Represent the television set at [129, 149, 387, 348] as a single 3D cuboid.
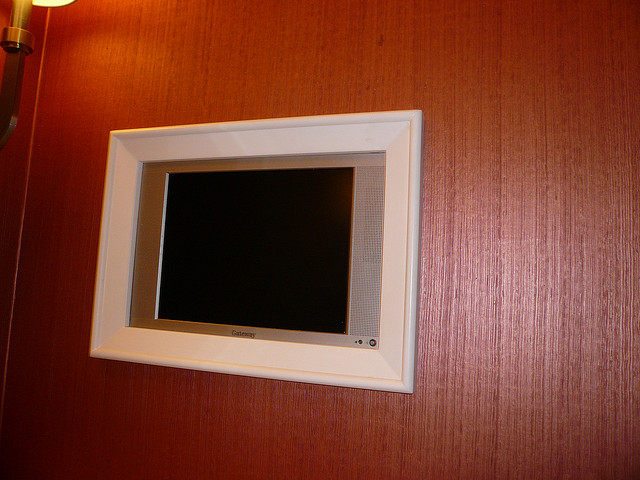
[{"bbox_3d":[-0.135,0.035,1.446,0.473,0.368,0.022,3,-4,19],"label":"television set"}]
